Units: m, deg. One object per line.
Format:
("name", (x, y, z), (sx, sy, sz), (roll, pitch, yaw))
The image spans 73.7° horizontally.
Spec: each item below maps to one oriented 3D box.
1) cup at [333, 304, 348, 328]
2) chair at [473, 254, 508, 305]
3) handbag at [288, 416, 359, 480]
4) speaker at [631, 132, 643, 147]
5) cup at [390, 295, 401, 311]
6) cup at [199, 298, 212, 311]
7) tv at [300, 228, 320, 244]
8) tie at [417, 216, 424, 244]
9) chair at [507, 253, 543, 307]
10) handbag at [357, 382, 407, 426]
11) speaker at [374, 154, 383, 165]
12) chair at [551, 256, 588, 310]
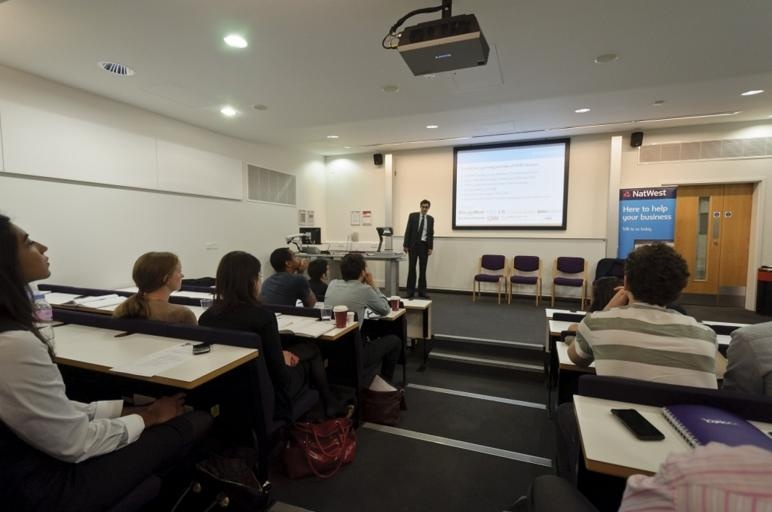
("cup", (-0.396, 0.535, 4.533), (0.155, 0.182, 0.161), (-1, -6, 0))
("chair", (1.750, 0.374, 8.674), (0.536, 0.766, 0.533), (5, 9, 45))
("handbag", (-0.531, 1.594, 4.284), (0.693, 0.462, 0.386), (1, -14, -23))
("speaker", (3.911, -1.830, 8.016), (0.189, 0.248, 0.185), (4, 6, 27))
("cup", (0.099, 0.487, 5.403), (0.123, 0.154, 0.124), (0, 2, 0))
("cup", (-1.725, 0.466, 4.922), (0.119, 0.095, 0.132), (1, -4, -2))
("tv", (-1.343, -0.364, 9.214), (0.351, 0.291, 0.371), (0, 6, -10))
("tie", (0.597, -0.448, 8.502), (0.093, 0.401, 0.078), (1, 6, 1))
("chair", (2.273, 0.377, 8.430), (0.525, 0.783, 0.516), (4, 3, 29))
("handbag", (-0.040, 1.406, 4.883), (0.341, 0.252, 0.336), (1, -11, 0))
("speaker", (-0.140, -1.843, 9.679), (0.159, 0.227, 0.122), (0, 26, 10))
("chair", (2.906, 0.429, 8.204), (0.568, 0.785, 0.574), (5, 11, 34))
